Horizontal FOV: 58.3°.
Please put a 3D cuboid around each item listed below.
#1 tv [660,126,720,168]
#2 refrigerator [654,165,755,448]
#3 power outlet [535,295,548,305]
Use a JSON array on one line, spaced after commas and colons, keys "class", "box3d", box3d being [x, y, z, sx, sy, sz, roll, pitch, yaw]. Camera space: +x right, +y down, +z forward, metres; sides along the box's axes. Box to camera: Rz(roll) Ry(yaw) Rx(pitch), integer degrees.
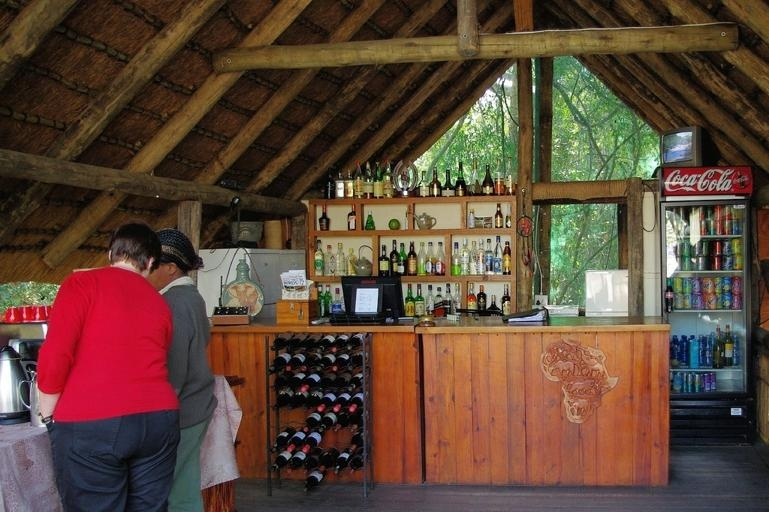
[{"class": "tv", "box3d": [3.290, -1.116, 7.471, 0.534, 0.411, 0.454, -5, 2, -45]}, {"class": "refrigerator", "box3d": [3.333, 0.451, 7.067, 0.919, 2.790, 0.736, -4, -6, 19]}, {"class": "power outlet", "box3d": [1.662, 0.476, 7.336, 0.108, 0.115, 0.064, 0, 27, 0]}]
